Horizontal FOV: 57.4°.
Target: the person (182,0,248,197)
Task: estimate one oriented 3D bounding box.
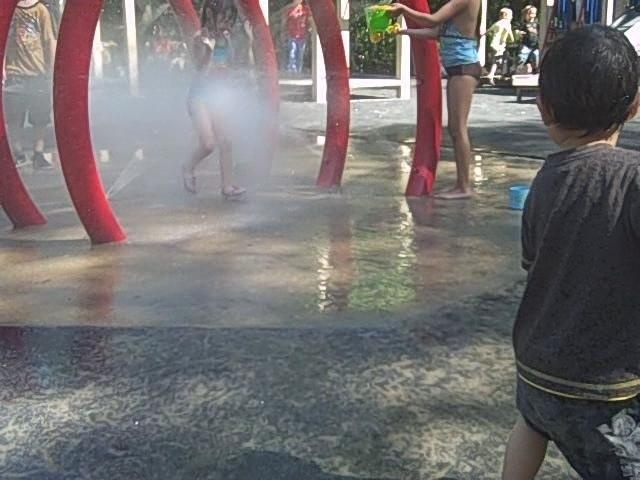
[{"bbox_3d":[-1.089,-1.164,5.673,0.587,1.639,0.334,-6,18,-10],"label":"person"}]

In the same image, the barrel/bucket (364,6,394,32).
[{"bbox_3d":[0.548,-2.044,5.405,0.242,0.244,0.254,-3,19,1],"label":"barrel/bucket"}]

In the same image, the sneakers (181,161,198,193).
[{"bbox_3d":[-1.377,-0.650,6.148,0.147,0.446,0.141,7,16,43],"label":"sneakers"}]

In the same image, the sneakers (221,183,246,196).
[{"bbox_3d":[-0.901,-0.511,6.063,0.274,0.130,0.113,0,19,5],"label":"sneakers"}]

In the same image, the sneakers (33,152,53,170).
[{"bbox_3d":[-3.691,-1.042,7.849,0.252,0.303,0.275,-4,14,-19],"label":"sneakers"}]
